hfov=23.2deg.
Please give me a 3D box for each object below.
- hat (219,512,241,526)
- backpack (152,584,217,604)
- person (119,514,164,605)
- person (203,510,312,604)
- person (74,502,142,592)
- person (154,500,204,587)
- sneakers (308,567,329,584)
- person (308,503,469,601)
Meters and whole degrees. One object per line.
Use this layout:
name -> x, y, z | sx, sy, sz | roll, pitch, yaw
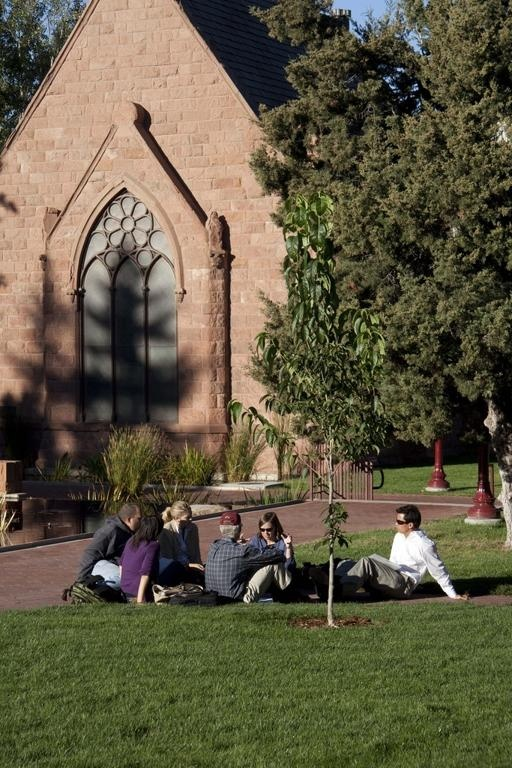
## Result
hat -> -0.224, 1.187, 10.976 | 0.109, 0.093, 0.162 | 2, 8, 8
backpack -> -0.610, 1.804, 10.585 | 0.318, 0.113, 0.257 | 1, 0, -19
person -> -0.952, 1.482, 10.476 | 0.317, 0.738, 0.533 | 1, -9, -12
person -> -0.050, 1.532, 11.002 | 0.665, 0.803, 0.900 | -7, -10, 34
person -> -1.395, 1.563, 11.763 | 0.408, 0.810, 0.573 | 18, -9, 23
person -> -0.638, 1.515, 11.508 | 0.510, 0.800, 0.616 | 1, -1, -7
sneakers -> 0.545, 1.694, 11.016 | 0.163, 0.159, 0.128 | -2, -9, 6
person -> 1.159, 1.556, 11.179 | 1.158, 0.785, 0.836 | 0, 2, 0
